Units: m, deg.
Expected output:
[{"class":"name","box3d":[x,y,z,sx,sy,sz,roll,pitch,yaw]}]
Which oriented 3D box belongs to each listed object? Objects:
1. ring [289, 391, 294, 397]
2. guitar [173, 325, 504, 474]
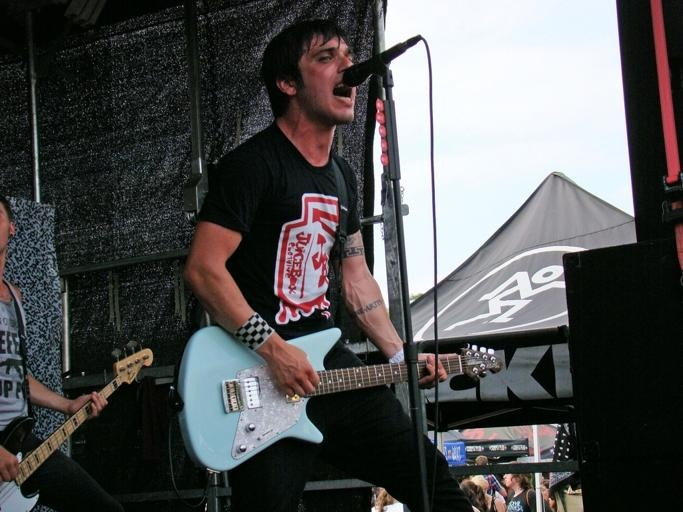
[{"class":"ring","box3d":[-0.238,0.662,3.940,0.026,0.014,0.034,-3,-12,-5]},{"class":"guitar","box3d":[-0.182,0.671,4.052,1.233,0.681,0.164,0,-11,-16]}]
